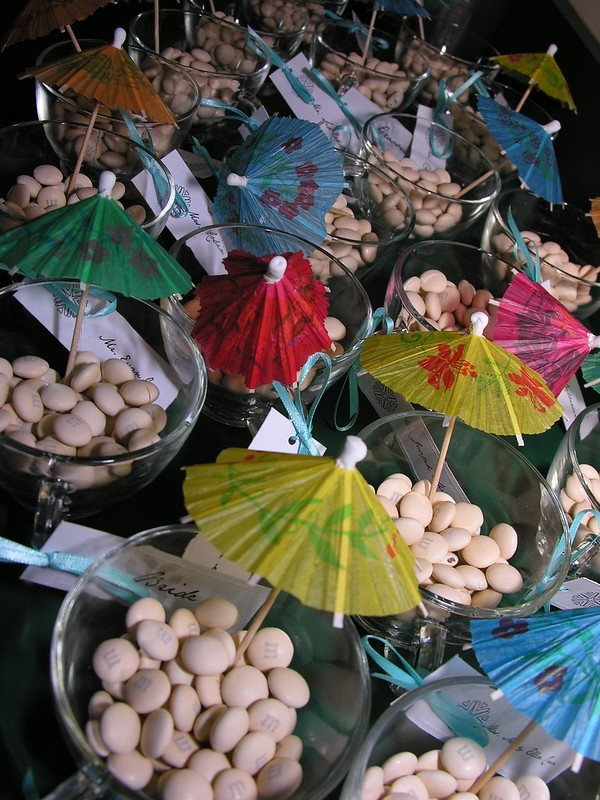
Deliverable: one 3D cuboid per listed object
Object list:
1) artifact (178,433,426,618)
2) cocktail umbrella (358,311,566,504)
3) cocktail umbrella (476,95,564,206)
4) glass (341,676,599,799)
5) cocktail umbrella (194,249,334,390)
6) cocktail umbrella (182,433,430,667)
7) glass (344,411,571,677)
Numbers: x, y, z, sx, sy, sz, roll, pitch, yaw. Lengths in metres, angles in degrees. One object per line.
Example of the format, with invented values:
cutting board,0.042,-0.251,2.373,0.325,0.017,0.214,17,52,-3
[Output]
artifact,0.024,0.083,0.395,0.139,0.059,0.116,7,34,-34
cocktail umbrella,0.129,0.008,0.636,0.173,0.143,0.139,31,83,2
cocktail umbrella,0.312,-0.365,0.960,0.152,0.069,0.172,49,12,-10
glass,0.120,0.240,0.458,0.120,0.084,0.092,43,53,-1
cocktail umbrella,-0.033,-0.068,0.624,0.150,0.075,0.123,1,67,-14
cocktail umbrella,0.043,0.072,0.438,0.132,0.124,0.135,-43,36,-10
glass,0.111,0.161,0.671,0.240,0.149,0.219,19,37,-17
